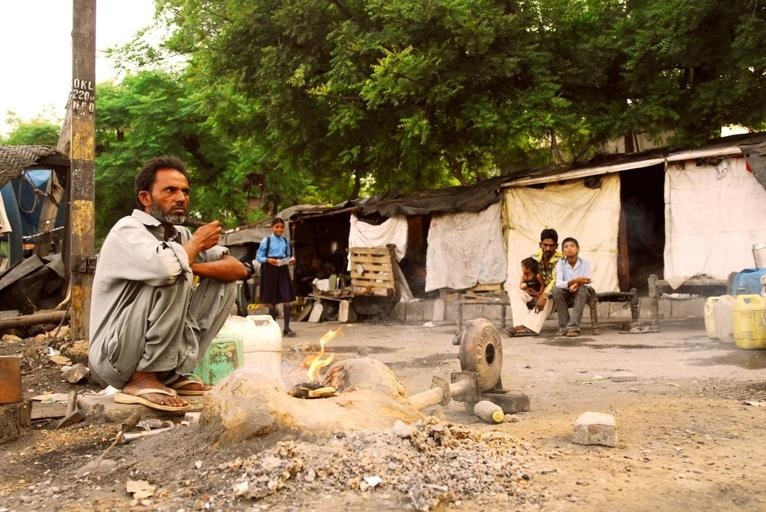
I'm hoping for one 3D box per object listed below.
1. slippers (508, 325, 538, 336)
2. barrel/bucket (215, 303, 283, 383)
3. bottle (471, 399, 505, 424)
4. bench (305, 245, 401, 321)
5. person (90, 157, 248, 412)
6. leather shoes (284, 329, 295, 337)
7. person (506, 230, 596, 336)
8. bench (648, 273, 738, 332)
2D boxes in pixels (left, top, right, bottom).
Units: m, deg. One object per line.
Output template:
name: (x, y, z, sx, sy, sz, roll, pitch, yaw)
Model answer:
slippers: (2.362, 1.280, 10.642, 0.541, 0.216, 0.177, -2, 2, 0)
barrel/bucket: (-1.352, 0.916, 6.685, 0.740, 0.962, 0.605, 1, 7, -9)
bottle: (0.989, 1.421, 5.739, 0.286, 0.194, 0.222, -1, 3, 10)
bench: (-0.836, 0.713, 15.271, 1.495, 1.621, 2.399, -1, 4, -33)
person: (-2.181, 0.231, 5.991, 1.039, 2.342, 0.916, 0, 4, 28)
leather shoes: (-1.753, 1.426, 11.712, 0.215, 0.124, 0.259, -2, 3, -13)
person: (2.826, 0.439, 10.528, 1.347, 1.757, 0.688, 1, 5, 38)
bench: (5.482, 0.721, 11.520, 1.325, 0.926, 0.489, 2, -14, 45)
